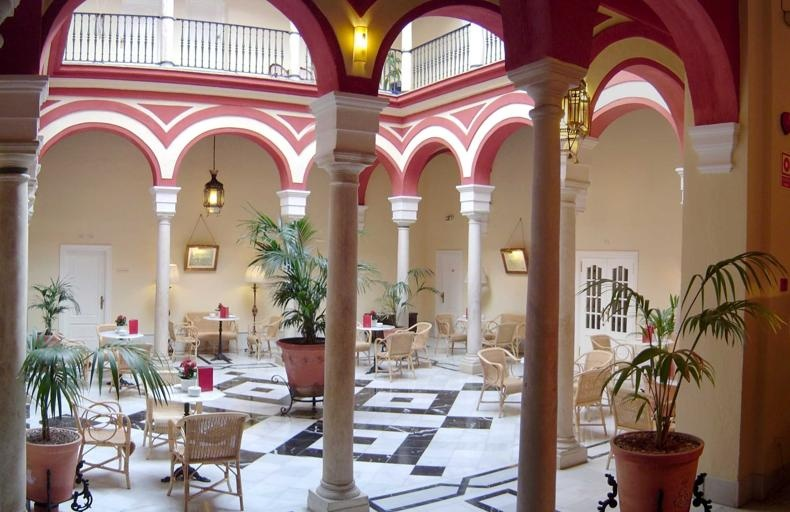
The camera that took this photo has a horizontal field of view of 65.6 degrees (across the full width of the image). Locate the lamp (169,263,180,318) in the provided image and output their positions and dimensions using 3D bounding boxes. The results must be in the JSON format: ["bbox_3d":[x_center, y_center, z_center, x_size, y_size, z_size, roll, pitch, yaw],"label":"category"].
[{"bbox_3d":[-5.424,0.871,14.979,0.230,1.336,0.737,2,-6,-20],"label":"lamp"}]

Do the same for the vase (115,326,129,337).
[{"bbox_3d":[-5.453,1.509,12.209,0.207,0.155,0.228,-1,-4,42],"label":"vase"}]

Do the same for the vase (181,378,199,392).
[{"bbox_3d":[-2.836,1.752,8.394,0.219,0.167,0.204,0,0,-4],"label":"vase"}]

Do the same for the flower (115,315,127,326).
[{"bbox_3d":[-5.650,1.350,12.581,0.154,0.173,0.296,1,-6,-17],"label":"flower"}]

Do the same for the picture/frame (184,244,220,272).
[{"bbox_3d":[-4.934,0.041,15.417,0.676,0.584,0.072,2,4,-33],"label":"picture/frame"}]

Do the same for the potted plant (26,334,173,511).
[{"bbox_3d":[-3.624,1.946,6.883,1.117,2.044,1.949,4,-7,-35],"label":"potted plant"}]

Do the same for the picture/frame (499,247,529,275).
[{"bbox_3d":[3.066,0.133,15.721,0.270,0.734,0.919,4,-7,-38],"label":"picture/frame"}]

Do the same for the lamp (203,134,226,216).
[{"bbox_3d":[-4.415,-2.061,14.911,0.406,2.156,1.608,1,-6,-17],"label":"lamp"}]

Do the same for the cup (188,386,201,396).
[{"bbox_3d":[-2.711,1.812,8.257,0.130,0.127,0.132,1,0,0],"label":"cup"}]

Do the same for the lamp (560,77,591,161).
[{"bbox_3d":[2.177,-1.687,7.316,0.311,0.931,0.305,5,5,0],"label":"lamp"}]

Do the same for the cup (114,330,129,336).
[{"bbox_3d":[-5.431,1.513,12.169,0.169,0.116,0.168,3,-2,0],"label":"cup"}]

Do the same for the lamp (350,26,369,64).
[{"bbox_3d":[-0.405,-2.460,7.160,0.178,0.469,0.111,0,-5,-7],"label":"lamp"}]

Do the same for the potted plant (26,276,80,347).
[{"bbox_3d":[-7.162,1.175,12.610,0.940,1.275,1.013,0,-4,29],"label":"potted plant"}]
